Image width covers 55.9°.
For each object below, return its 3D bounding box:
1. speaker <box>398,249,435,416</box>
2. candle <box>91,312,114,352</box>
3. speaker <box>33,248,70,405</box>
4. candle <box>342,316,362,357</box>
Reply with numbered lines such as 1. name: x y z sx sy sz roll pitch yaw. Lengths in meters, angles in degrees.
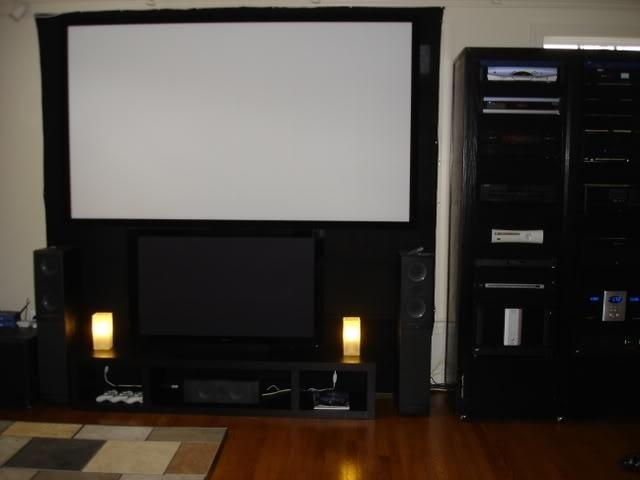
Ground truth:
1. speaker: 0.668 0.649 4.190 0.253 1.154 0.185 -1 -5 3
2. candle: -1.572 0.667 4.369 0.142 0.275 0.108 1 -5 -18
3. speaker: -1.889 0.621 4.270 0.216 1.089 0.188 0 -5 -3
4. candle: 0.225 0.693 4.313 0.128 0.277 0.106 0 -5 -5
